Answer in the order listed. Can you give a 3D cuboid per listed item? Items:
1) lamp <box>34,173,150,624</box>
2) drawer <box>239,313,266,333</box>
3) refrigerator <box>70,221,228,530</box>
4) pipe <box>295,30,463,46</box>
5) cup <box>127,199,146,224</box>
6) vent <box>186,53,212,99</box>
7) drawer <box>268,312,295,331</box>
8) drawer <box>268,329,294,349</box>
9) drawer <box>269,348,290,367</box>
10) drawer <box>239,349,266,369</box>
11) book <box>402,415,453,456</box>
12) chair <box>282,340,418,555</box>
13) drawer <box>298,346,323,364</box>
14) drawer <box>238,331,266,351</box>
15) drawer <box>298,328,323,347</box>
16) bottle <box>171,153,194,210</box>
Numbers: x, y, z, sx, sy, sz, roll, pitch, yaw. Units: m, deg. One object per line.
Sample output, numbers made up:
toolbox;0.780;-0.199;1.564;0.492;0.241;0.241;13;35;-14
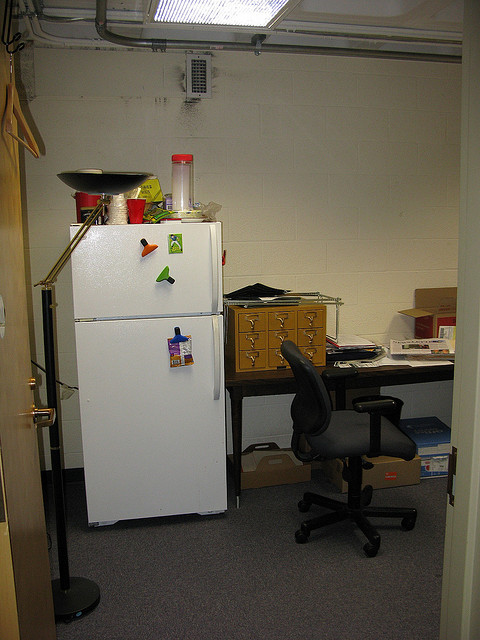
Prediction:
lamp;-0.624;0.307;2.269;0.427;1.740;0.850;-5;8;-21
drawer;0.069;0.011;2.958;0.113;0.072;0.112;-2;14;-13
refrigerator;-0.509;0.240;3.028;0.753;1.555;0.724;-4;14;-16
pipe;0.748;-1.531;2.944;0.942;0.054;0.099;-3;8;-9
cup;-0.499;-0.549;2.730;0.104;0.126;0.105;1;3;0
vent;-0.243;-1.429;3.169;0.160;0.231;0.015;-8;18;-25
drawer;0.232;0.002;3.002;0.110;0.070;0.111;-2;8;-15
drawer;0.224;0.097;3.017;0.112;0.073;0.115;1;6;21
drawer;0.227;0.211;3.053;0.128;0.094;0.088;-1;7;-14
drawer;0.066;0.214;3.019;0.114;0.072;0.115;-2;12;-9
book;1.200;0.759;3.548;0.253;0.105;0.456;-5;11;-5
chair;0.486;0.519;3.057;0.902;1.355;0.882;-3;10;0
drawer;0.406;0.172;3.141;0.130;0.129;0.091;-2;10;-15
drawer;0.071;0.116;2.990;0.111;0.071;0.112;-1;6;-13
drawer;0.400;0.091;3.061;0.158;0.118;0.092;-1;9;-18
bottle;-0.303;-0.712;2.809;0.106;0.269;0.127;-3;8;-10
